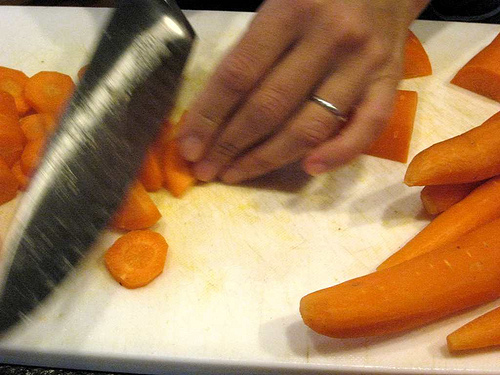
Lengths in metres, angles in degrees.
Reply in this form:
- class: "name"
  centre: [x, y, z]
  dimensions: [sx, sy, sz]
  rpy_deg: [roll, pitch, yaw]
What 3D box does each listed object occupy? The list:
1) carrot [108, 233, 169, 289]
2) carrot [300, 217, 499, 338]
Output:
- class: "carrot"
  centre: [-0.293, 0.184, 1.235]
  dimensions: [0.187, 0.038, 0.138]
  rpy_deg: [-7, 68, 21]
- class: "carrot"
  centre: [0.406, 0.240, 1.095]
  dimensions: [0.545, 0.171, 0.164]
  rpy_deg: [-15, 58, -20]
